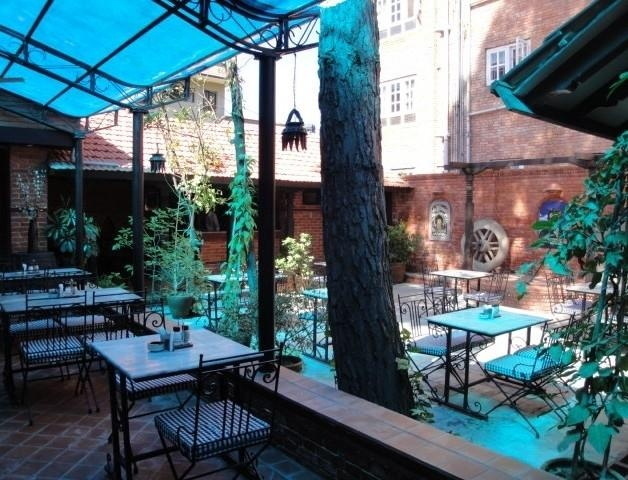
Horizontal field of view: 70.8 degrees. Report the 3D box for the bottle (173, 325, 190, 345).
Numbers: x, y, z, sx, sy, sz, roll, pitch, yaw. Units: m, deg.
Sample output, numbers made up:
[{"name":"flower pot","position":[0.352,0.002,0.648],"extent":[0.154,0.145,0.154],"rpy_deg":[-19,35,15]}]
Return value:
[{"name":"bottle","position":[-1.175,0.832,3.913],"extent":[0.121,0.170,0.164],"rpy_deg":[1,3,-20]}]
